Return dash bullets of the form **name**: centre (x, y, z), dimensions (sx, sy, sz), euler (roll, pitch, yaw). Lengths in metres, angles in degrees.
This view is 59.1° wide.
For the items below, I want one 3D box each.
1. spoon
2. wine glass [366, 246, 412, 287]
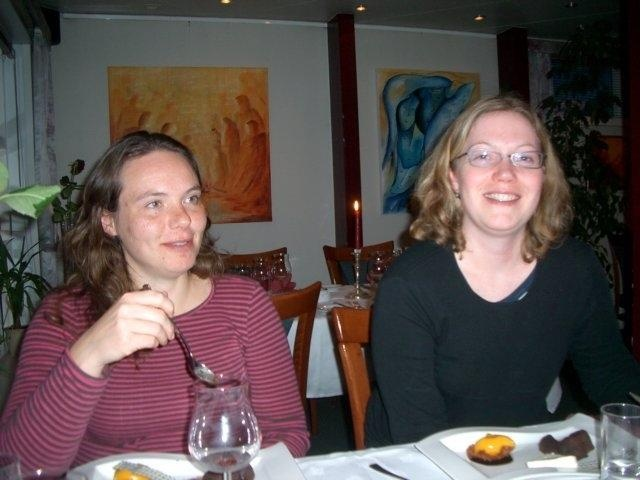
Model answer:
- **spoon**: centre (-0.438, 0.305, 1.736), dimensions (0.049, 0.333, 0.070), euler (-31, 1, 45)
- **wine glass**: centre (0.432, 0.148, 3.271), dimensions (0.318, 0.291, 0.200), euler (-2, -2, 7)
